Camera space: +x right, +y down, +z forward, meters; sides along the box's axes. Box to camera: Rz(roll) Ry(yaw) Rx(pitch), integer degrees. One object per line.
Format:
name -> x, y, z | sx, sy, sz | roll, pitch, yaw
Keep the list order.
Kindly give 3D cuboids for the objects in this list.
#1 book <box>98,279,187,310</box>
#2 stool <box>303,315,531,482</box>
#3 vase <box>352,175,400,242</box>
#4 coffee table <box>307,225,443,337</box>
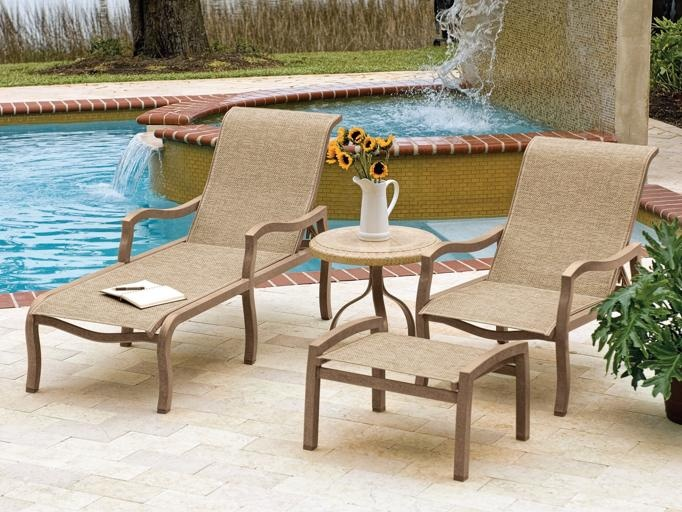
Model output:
book -> -1.129, 0.218, 3.746 | 0.316, 0.065, 0.386 | -16, 21, -42
stool -> 0.361, 0.657, 3.110 | 0.943, 0.568, 0.659 | 7, 22, 26
vase -> 0.257, -0.352, 4.196 | 0.223, 0.298, 0.386 | 22, 30, 40
coffee table -> 0.162, 0.131, 4.263 | 0.979, 0.672, 0.926 | 14, 21, 40
